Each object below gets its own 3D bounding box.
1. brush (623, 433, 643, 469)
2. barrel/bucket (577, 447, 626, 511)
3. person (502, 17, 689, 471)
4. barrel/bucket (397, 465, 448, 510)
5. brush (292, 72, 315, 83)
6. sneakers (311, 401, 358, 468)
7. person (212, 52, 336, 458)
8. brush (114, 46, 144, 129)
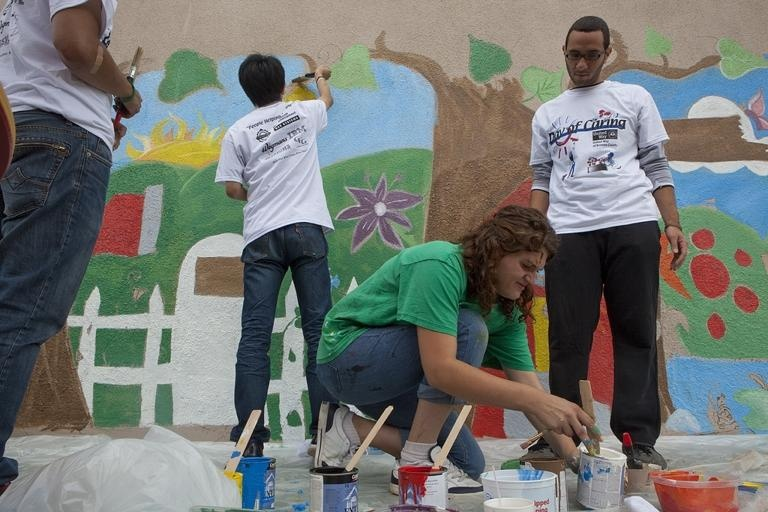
[{"bbox_3d":[1.143,0.921,3.710,0.078,0.182,0.107,-16,-12,16],"label":"brush"},{"bbox_3d":[0.925,0.958,3.427,0.211,0.258,0.156,-3,-13,17],"label":"barrel/bucket"},{"bbox_3d":[1.127,-0.056,4.069,0.842,2.264,0.519,-2,-3,14],"label":"person"},{"bbox_3d":[0.155,0.920,3.278,0.212,0.154,0.208,0,3,0],"label":"barrel/bucket"},{"bbox_3d":[-0.479,-1.025,4.664,0.077,0.028,0.125,-7,5,-29],"label":"brush"},{"bbox_3d":[-0.220,0.855,3.770,0.220,0.364,0.134,4,-11,2],"label":"sneakers"},{"bbox_3d":[-0.607,-0.065,4.344,0.648,2.114,0.240,2,-13,-4],"label":"person"},{"bbox_3d":[-1.216,-0.735,3.728,0.060,0.397,0.167,13,-8,9],"label":"brush"}]
